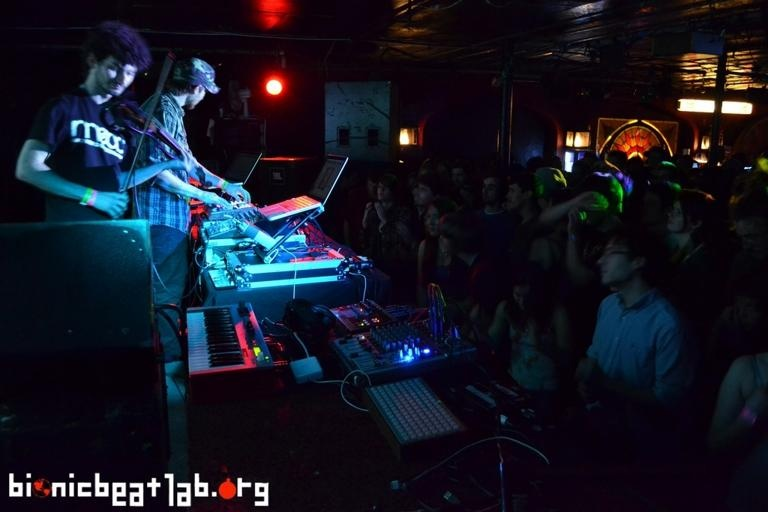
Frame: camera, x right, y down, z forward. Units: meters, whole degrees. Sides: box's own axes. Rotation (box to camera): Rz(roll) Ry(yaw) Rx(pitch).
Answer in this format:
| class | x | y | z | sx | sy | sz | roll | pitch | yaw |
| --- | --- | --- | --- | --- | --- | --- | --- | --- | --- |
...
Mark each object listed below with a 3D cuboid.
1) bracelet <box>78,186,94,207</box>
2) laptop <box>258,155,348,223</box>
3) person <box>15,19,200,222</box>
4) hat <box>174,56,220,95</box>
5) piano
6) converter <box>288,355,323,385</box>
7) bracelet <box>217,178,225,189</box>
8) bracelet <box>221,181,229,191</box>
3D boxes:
| class | x | y | z | sx | sy | sz | roll | pitch | yaw |
| --- | --- | --- | --- | --- | --- | --- | --- | --- | --- |
| bracelet | -1.234 | -0.256 | 2.423 | 0.018 | 0.063 | 0.063 | 23 | 41 | -32 |
| laptop | -0.534 | -0.471 | 3.750 | 0.588 | 0.357 | 0.531 | -7 | 13 | -12 |
| person | -1.272 | -0.601 | 2.560 | 0.453 | 0.836 | 0.498 | 2 | 12 | 10 |
| hat | -1.185 | -1.179 | 3.706 | 0.314 | 0.163 | 0.224 | 6 | 32 | -36 |
| piano | -0.729 | 0.400 | 2.616 | 0.336 | 0.174 | 0.567 | -4 | 26 | -23 |
| converter | -0.334 | 0.484 | 2.502 | 0.110 | 0.026 | 0.111 | -10 | 39 | -16 |
| bracelet | -1.162 | -0.512 | 4.088 | 0.061 | 0.064 | 0.069 | 18 | 26 | 27 |
| bracelet | -1.134 | -0.495 | 4.126 | 0.053 | 0.066 | 0.024 | -2 | 35 | -41 |
